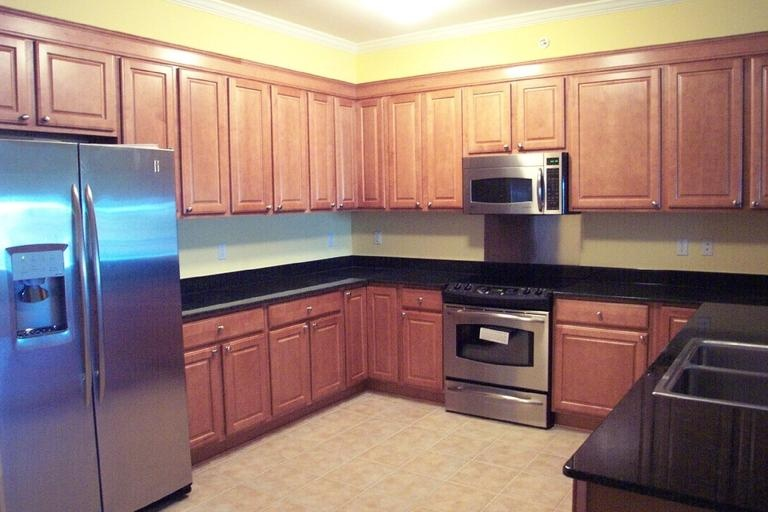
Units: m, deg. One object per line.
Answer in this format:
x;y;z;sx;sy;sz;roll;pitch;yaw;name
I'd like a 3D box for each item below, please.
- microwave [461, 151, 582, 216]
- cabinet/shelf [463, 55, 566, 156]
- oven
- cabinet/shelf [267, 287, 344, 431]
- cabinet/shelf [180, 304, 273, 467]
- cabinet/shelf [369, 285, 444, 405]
1.181;-0.627;5.012;0.922;0.507;0.543;4;11;33;microwave
1.306;-1.214;5.050;0.568;0.660;1.066;-13;15;-40;cabinet/shelf
1.013;0.841;5.156;1.167;1.221;0.929;0;1;29;oven
-0.824;0.796;4.943;0.557;0.994;0.906;5;9;37;cabinet/shelf
-1.053;1.032;4.469;1.114;0.999;0.604;-21;-24;26;cabinet/shelf
0.182;0.718;5.169;0.793;0.879;0.190;7;16;32;cabinet/shelf
